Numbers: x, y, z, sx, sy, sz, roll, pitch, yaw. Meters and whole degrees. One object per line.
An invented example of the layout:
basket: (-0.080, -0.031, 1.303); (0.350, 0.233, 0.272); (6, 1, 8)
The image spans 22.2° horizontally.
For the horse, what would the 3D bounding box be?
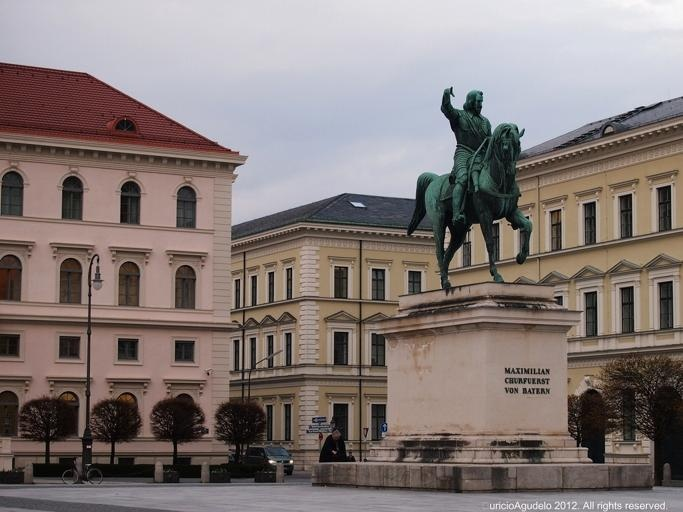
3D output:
horse: (4.782, -2.512, 61.974); (4.308, 6.894, 3.822); (-5, -5, -13)

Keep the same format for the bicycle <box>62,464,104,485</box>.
bicycle: (-10.855, 9.246, 74.714); (1.715, 0.926, 0.824); (-2, -7, -12)
